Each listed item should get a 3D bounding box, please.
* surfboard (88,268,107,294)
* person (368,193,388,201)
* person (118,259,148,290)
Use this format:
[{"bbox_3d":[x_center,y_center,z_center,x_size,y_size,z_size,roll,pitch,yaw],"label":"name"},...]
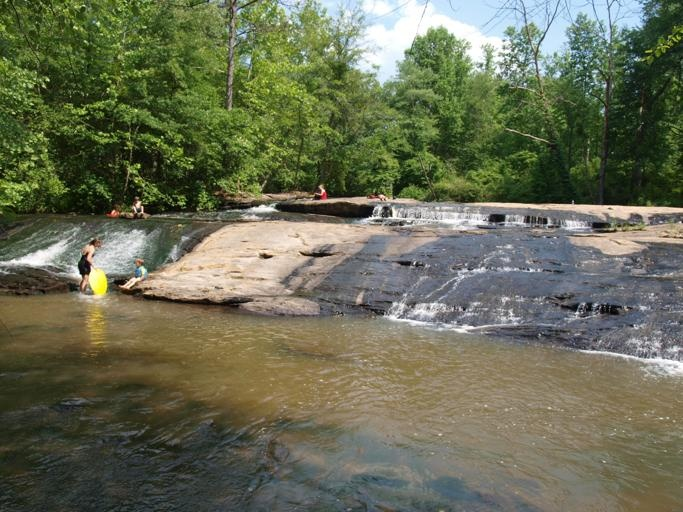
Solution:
[{"bbox_3d":[-6.420,0.710,11.647,0.195,0.611,0.560,-2,18,13],"label":"surfboard"},{"bbox_3d":[2.059,-3.345,25.286,1.006,0.385,1.473,3,-2,9],"label":"person"},{"bbox_3d":[-5.627,0.494,12.058,0.675,0.741,1.203,-4,14,-22],"label":"person"}]
